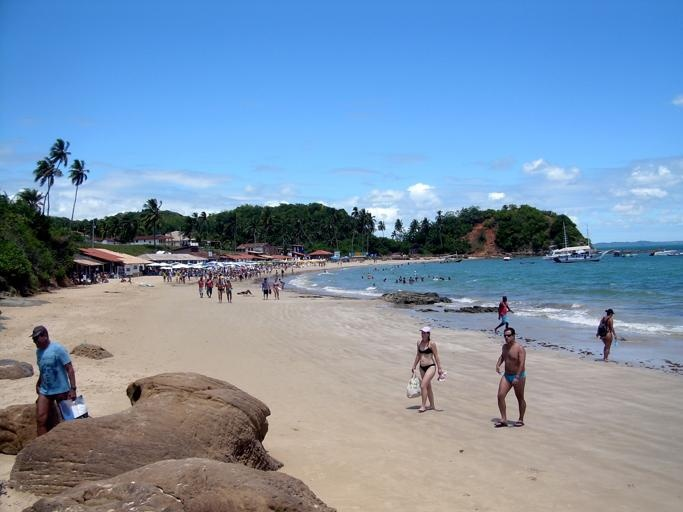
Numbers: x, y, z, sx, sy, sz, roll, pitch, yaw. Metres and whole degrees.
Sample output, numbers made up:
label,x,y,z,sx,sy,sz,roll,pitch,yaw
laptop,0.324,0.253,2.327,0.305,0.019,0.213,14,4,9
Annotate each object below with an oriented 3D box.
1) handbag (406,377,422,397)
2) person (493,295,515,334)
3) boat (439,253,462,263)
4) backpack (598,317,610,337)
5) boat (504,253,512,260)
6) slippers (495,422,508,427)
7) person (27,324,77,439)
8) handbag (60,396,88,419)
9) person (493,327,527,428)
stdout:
label,x,y,z,sx,sy,sz,roll,pitch,yaw
handbag,1.702,3.060,12.498,0.301,0.565,0.357,2,7,5
person,7.894,2.867,26.180,0.918,0.543,1.664,4,-31,20
boat,31.434,0.638,153.928,10.624,2.357,2.819,-1,5,-17
backpack,8.653,2.399,17.761,0.294,0.668,0.365,0,7,-11
boat,45.918,0.566,148.887,2.060,0.762,2.407,3,6,11
slippers,3.484,3.668,11.733,0.250,0.077,0.113,4,-5,-25
person,-4.790,2.054,8.985,0.597,1.732,0.737,-2,8,-27
handbag,-4.371,2.475,8.766,0.395,0.399,0.411,-2,7,-28
person,3.684,2.621,11.597,0.677,2.199,0.720,4,7,16
